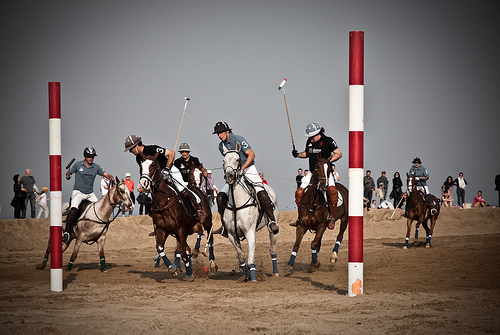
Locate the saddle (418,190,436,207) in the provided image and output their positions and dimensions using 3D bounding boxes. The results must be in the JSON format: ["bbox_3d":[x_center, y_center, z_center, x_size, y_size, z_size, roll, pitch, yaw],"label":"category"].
[{"bbox_3d":[8.977,1.557,27.413,0.398,0.871,2.336,0,0,30],"label":"saddle"}]

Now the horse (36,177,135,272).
[{"bbox_3d":[-6.244,2.347,20.511,4.446,3.333,1.122,-8,-14,32],"label":"horse"}]

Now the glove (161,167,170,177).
[{"bbox_3d":[-2.789,0.139,18.012,0.244,0.324,0.712,0,0,-5],"label":"glove"}]

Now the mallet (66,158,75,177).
[{"bbox_3d":[-4.607,0.032,13.895,0.128,0.590,0.143,7,-16,35],"label":"mallet"}]

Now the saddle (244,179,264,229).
[{"bbox_3d":[0.123,1.044,17.523,0.856,1.224,0.606,-2,-8,36],"label":"saddle"}]

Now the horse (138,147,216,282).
[{"bbox_3d":[-2.540,1.710,19.715,2.514,4.687,6.377,0,0,-4],"label":"horse"}]
